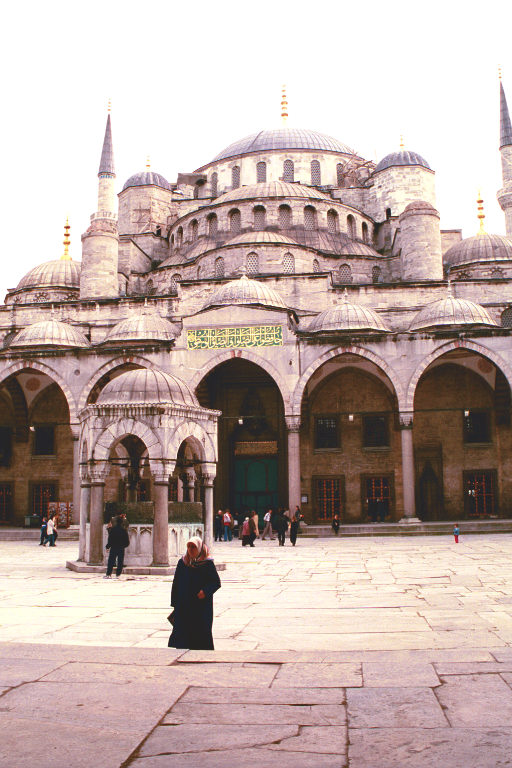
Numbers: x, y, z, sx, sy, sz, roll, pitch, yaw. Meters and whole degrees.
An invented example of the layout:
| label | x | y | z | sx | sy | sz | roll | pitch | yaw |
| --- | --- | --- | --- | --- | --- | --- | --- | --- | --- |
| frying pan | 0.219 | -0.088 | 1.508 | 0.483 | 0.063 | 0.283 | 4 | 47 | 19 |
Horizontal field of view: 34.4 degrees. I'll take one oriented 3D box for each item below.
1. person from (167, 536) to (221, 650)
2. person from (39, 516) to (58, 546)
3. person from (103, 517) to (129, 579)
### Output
| label | x | y | z | sx | sy | sz | roll | pitch | yaw |
| --- | --- | --- | --- | --- | --- | --- | --- | --- | --- |
| person | -0.442 | 1.482 | 5.823 | 0.353 | 0.772 | 0.289 | 0 | -11 | -8 |
| person | -5.752 | 4.113 | 22.797 | 0.453 | 0.821 | 1.543 | 2 | -13 | -15 |
| person | -2.160 | 2.532 | 12.887 | 0.330 | 0.937 | 0.460 | 1 | -11 | -10 |
